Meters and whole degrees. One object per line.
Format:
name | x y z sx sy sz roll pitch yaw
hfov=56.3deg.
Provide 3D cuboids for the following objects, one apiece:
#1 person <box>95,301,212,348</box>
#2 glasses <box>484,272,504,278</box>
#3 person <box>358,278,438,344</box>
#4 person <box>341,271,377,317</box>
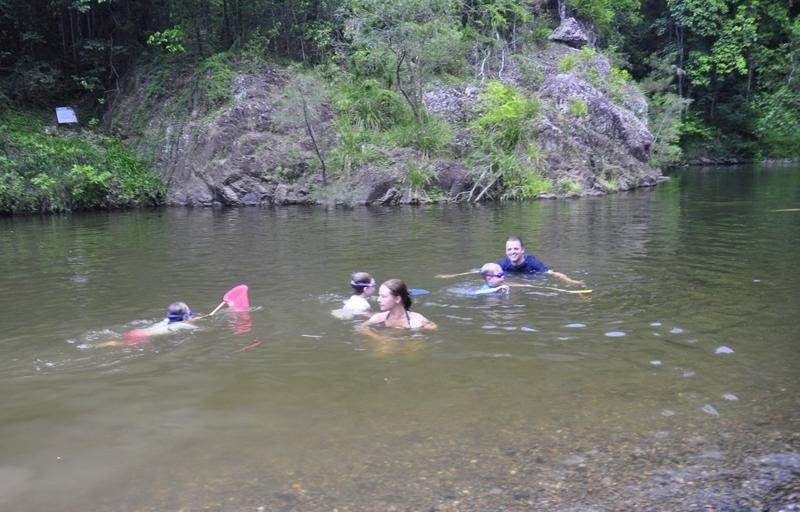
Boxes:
person | -3.804 1.114 11.798 1.998 0.608 0.433 -11 17 -31
glasses | 1.680 0.339 13.153 0.339 0.100 0.151 -4 7 -12
person | -0.046 0.825 11.741 1.399 0.782 0.832 -2 6 34
person | -0.676 0.666 12.688 0.642 0.718 0.796 -3 9 -11
